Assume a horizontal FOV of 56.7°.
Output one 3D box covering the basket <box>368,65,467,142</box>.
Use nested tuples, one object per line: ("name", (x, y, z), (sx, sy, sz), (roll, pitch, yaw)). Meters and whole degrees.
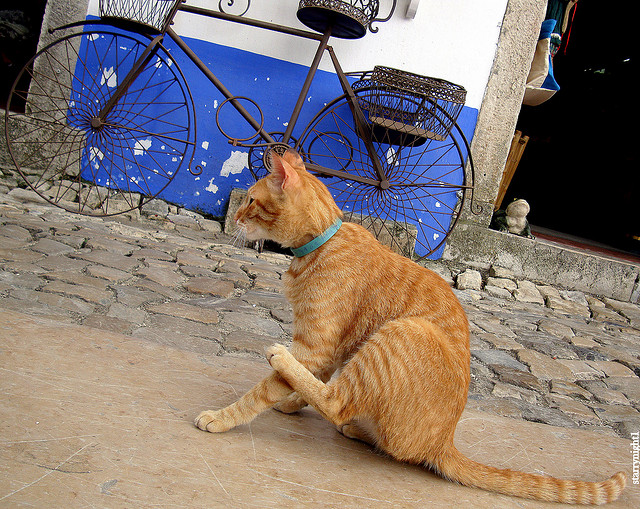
("basket", (0.769, -1.305, 5.032), (0.857, 0.439, 0.605), (27, 2, 33))
